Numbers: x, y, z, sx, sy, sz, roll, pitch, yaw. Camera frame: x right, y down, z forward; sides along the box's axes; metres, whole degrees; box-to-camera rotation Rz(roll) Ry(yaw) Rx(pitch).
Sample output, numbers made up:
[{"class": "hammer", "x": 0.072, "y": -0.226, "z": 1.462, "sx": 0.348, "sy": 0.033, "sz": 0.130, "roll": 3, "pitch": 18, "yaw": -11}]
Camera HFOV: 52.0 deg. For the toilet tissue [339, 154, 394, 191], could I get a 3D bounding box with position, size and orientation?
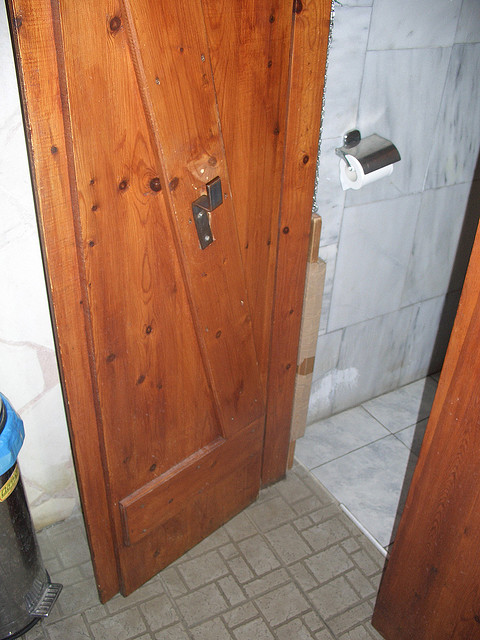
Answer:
[{"class": "toilet tissue", "x": 0.511, "y": -0.612, "z": 2.077, "sx": 0.223, "sy": 0.188, "sz": 0.135, "roll": -18, "pitch": 33, "yaw": -30}]
